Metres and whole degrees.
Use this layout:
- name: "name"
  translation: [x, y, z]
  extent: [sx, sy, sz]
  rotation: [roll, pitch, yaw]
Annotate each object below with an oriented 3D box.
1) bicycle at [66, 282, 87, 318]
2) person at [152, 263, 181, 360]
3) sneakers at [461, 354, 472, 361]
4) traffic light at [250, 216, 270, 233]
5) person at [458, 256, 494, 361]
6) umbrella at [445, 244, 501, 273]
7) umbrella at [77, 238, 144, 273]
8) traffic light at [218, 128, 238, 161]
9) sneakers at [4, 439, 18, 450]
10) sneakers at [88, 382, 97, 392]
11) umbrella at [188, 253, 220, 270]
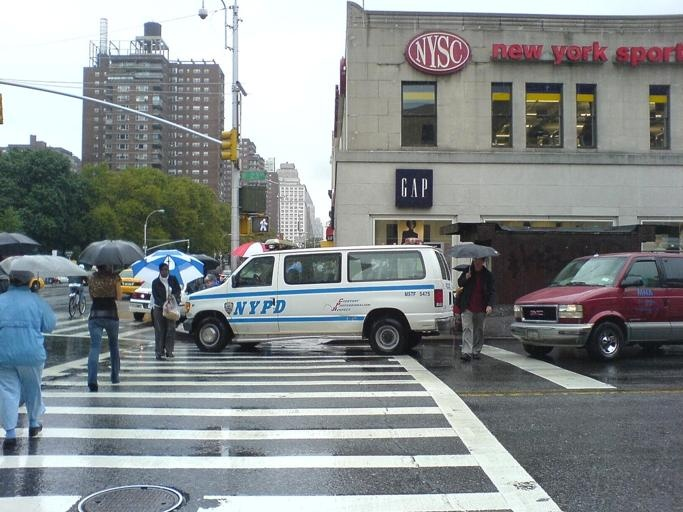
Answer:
- name: "bicycle"
  translation: [-9.411, 1.511, 35.267]
  extent: [0.764, 1.045, 1.625]
  rotation: [0, 0, -2]
- name: "person"
  translation: [-4.228, 1.340, 24.369]
  extent: [0.662, 2.320, 0.665]
  rotation: [0, -1, -18]
- name: "sneakers"
  translation: [2.913, 2.356, 23.275]
  extent: [0.256, 0.181, 0.341]
  rotation: [0, 15, 0]
- name: "traffic light"
  translation: [-2.373, -0.924, 29.428]
  extent: [0.499, 0.517, 0.141]
  rotation: [-2, -14, 15]
- name: "person"
  translation: [3.163, 1.268, 23.723]
  extent: [0.840, 2.547, 1.409]
  rotation: [1, 14, 6]
- name: "umbrella"
  translation: [3.123, 0.196, 23.957]
  extent: [0.866, 0.541, 0.907]
  rotation: [9, 21, 20]
- name: "umbrella"
  translation: [-4.770, -0.042, 21.269]
  extent: [0.797, 0.283, 0.837]
  rotation: [2, 17, 5]
- name: "traffic light"
  translation: [-3.252, -3.230, 29.438]
  extent: [0.521, 1.074, 0.865]
  rotation: [-2, 15, -7]
- name: "sneakers"
  translation: [-5.865, 3.379, 17.937]
  extent: [0.176, 0.141, 0.186]
  rotation: [0, -2, -4]
- name: "sneakers"
  translation: [-5.062, 2.703, 20.630]
  extent: [0.175, 0.147, 0.259]
  rotation: [-4, 16, -15]
- name: "umbrella"
  translation: [-5.121, 0.254, 38.783]
  extent: [1.266, 0.439, 1.149]
  rotation: [1, 2, -4]
